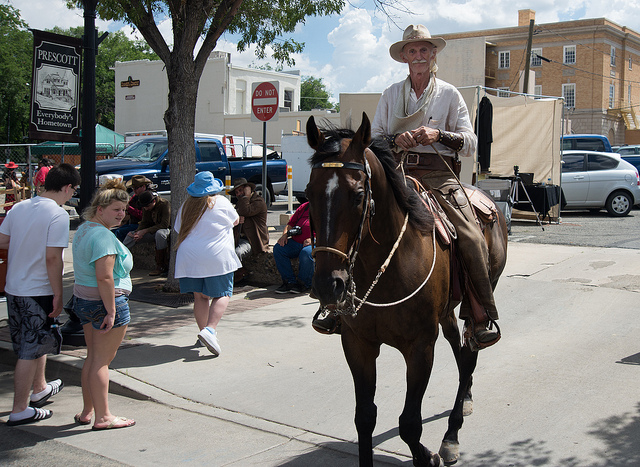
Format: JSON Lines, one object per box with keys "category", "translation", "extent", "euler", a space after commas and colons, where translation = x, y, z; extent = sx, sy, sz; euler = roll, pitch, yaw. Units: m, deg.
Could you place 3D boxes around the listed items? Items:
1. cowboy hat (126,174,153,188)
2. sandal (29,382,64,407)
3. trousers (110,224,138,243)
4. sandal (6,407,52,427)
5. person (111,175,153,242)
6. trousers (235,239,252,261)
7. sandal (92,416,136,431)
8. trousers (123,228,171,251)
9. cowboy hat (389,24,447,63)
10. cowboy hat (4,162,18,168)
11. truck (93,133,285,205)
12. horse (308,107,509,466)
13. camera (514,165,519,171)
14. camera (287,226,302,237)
{"category": "cowboy hat", "translation": [-3.684, -1.062, 12.607], "extent": [0.611, 0.229, 0.525], "euler": [-2, 0, -34]}
{"category": "sandal", "translation": [-3.005, 1.772, 6.867], "extent": [0.159, 0.194, 0.440], "euler": [5, 14, 28]}
{"category": "trousers", "translation": [-4.044, -0.059, 12.904], "extent": [0.454, 0.444, 0.163], "euler": [-1, -12, 14]}
{"category": "sandal", "translation": [-2.995, 1.877, 6.459], "extent": [0.427, 0.154, 0.157], "euler": [-4, 4, -41]}
{"category": "person", "translation": [-4.008, -0.479, 13.047], "extent": [0.767, 1.403, 0.508], "euler": [-7, -21, 0]}
{"category": "trousers", "translation": [-1.357, 0.292, 11.057], "extent": [0.213, 0.351, 0.121], "euler": [5, -15, -7]}
{"category": "sandal", "translation": [-2.111, 1.920, 6.366], "extent": [0.382, 0.105, 0.143], "euler": [-1, 3, -18]}
{"category": "trousers", "translation": [-3.329, 0.111, 12.116], "extent": [1.165, 0.412, 0.363], "euler": [5, 0, 10]}
{"category": "cowboy hat", "translation": [0.946, -1.993, 6.312], "extent": [0.445, 0.202, 0.494], "euler": [-14, 2, -9]}
{"category": "cowboy hat", "translation": [-10.624, -2.353, 21.505], "extent": [0.301, 0.096, 0.321], "euler": [9, 16, -7]}
{"category": "truck", "translation": [-3.508, -2.067, 18.628], "extent": [5.926, 2.309, 2.828], "euler": [-4, 6, -44]}
{"category": "horse", "translation": [0.809, 0.499, 5.594], "extent": [1.030, 3.169, 2.639], "euler": [5, 14, 30]}
{"category": "camera", "translation": [5.323, -1.808, 17.013], "extent": [0.194, 0.178, 0.045], "euler": [4, -1, -32]}
{"category": "camera", "translation": [-0.406, -0.044, 10.153], "extent": [0.170, 0.072, 0.167], "euler": [-4, -33, -12]}
